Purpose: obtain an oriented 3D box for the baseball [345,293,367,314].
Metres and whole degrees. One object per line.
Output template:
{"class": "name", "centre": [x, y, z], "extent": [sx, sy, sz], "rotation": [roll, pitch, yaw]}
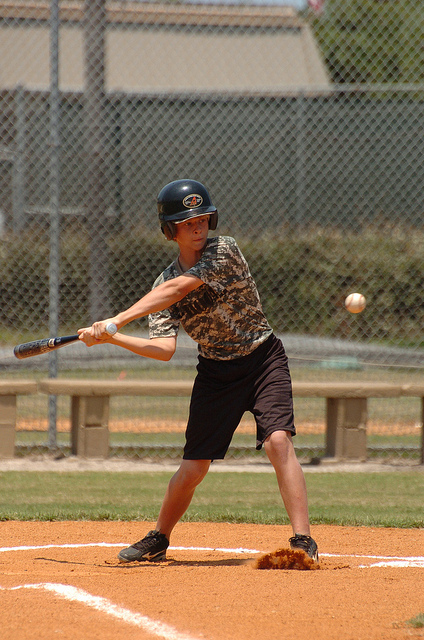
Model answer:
{"class": "baseball", "centre": [0.826, -0.095, 4.986], "extent": [0.103, 0.114, 0.144], "rotation": [1, 10, 1]}
